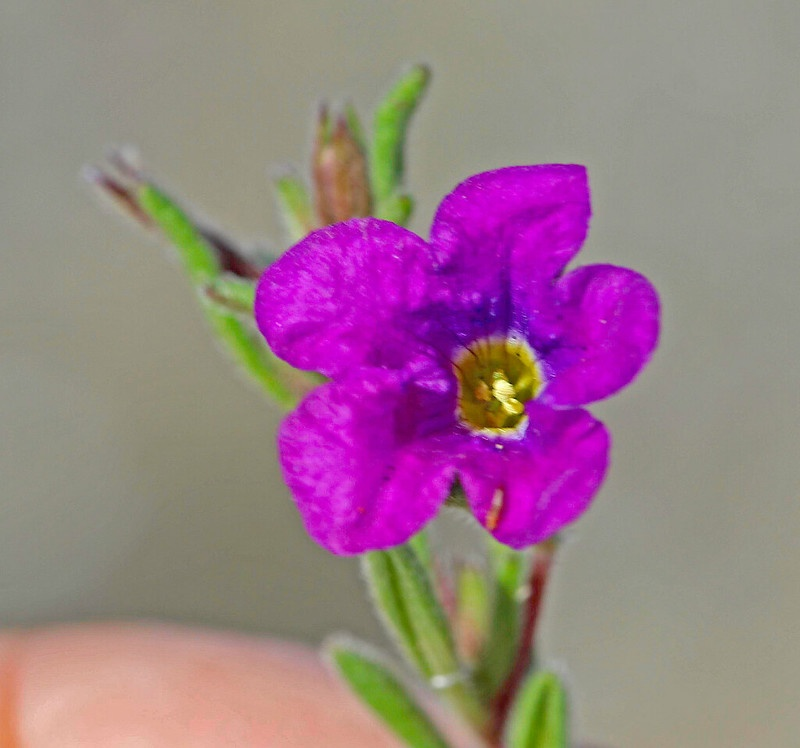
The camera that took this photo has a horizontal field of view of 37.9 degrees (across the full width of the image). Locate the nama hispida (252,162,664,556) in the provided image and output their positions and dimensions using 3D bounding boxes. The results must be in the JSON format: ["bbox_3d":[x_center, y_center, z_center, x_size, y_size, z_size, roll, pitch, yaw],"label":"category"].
[{"bbox_3d":[0.041,-0.003,0.772,0.264,0.170,0.188,-7,47,-9],"label":"nama hispida"}]
